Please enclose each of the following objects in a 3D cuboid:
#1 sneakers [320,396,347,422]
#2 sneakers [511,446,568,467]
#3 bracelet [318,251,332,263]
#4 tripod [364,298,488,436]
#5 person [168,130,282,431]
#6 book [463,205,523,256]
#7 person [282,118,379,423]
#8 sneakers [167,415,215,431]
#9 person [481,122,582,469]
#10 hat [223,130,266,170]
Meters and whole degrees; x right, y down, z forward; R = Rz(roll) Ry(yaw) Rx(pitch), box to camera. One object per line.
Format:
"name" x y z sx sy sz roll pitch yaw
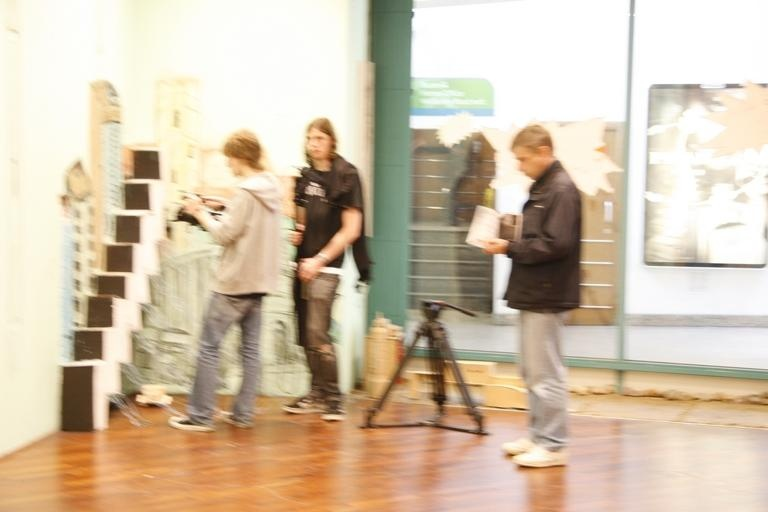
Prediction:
"sneakers" -0.345 1.115 5.062 0.195 0.155 0.171 2 2 35
"sneakers" 0.939 1.211 4.233 0.356 0.114 0.117 2 -5 -9
"bracelet" -0.424 0.008 4.953 0.084 0.067 0.076 -6 7 2
"tripod" 0.368 0.771 5.327 1.015 0.989 1.110 -1 1 -7
"person" -1.081 0.158 4.783 0.739 2.029 0.427 -2 9 -17
"book" 0.667 -0.170 4.253 0.315 0.340 0.215 1 21 -12
"person" -0.446 0.093 5.037 0.597 2.137 0.342 6 10 28
"sneakers" -1.313 1.140 4.765 0.324 0.096 0.118 8 -6 8
"person" 0.921 0.244 4.183 0.394 2.024 0.406 -5 10 -33
"hat" -0.946 -0.726 4.704 0.319 0.256 0.215 9 8 11
